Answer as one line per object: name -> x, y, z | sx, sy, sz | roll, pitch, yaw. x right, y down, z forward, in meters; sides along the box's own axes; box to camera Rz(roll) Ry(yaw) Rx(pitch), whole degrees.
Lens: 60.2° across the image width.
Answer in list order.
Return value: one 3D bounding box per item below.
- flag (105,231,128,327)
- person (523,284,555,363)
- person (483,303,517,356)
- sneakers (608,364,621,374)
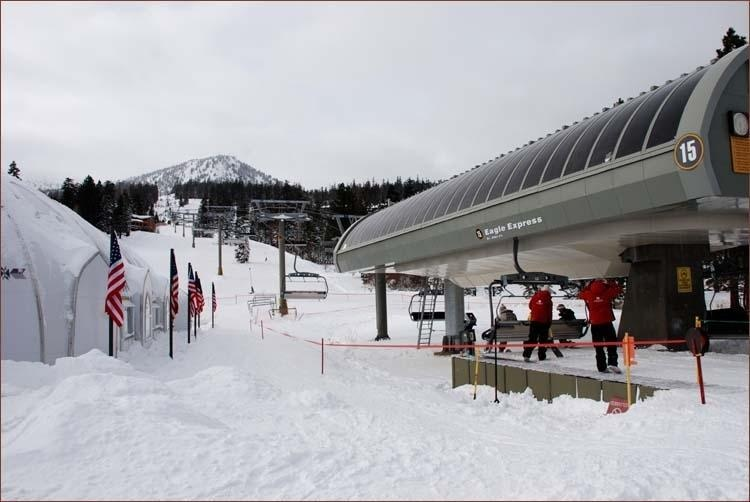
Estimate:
flag -> -7.372, 0.801, 18.313 | 0.488, 2.805, 0.854 | 0, 0, -22
person -> 4.724, 2.071, 18.415 | 0.616, 2.031, 0.626 | 4, -7, 29
person -> 4.373, 2.858, 22.574 | 1.159, 1.706, 1.302 | 2, 3, -15
sneakers -> 5.870, 2.906, 15.836 | 0.257, 0.140, 0.356 | 0, 0, 7
